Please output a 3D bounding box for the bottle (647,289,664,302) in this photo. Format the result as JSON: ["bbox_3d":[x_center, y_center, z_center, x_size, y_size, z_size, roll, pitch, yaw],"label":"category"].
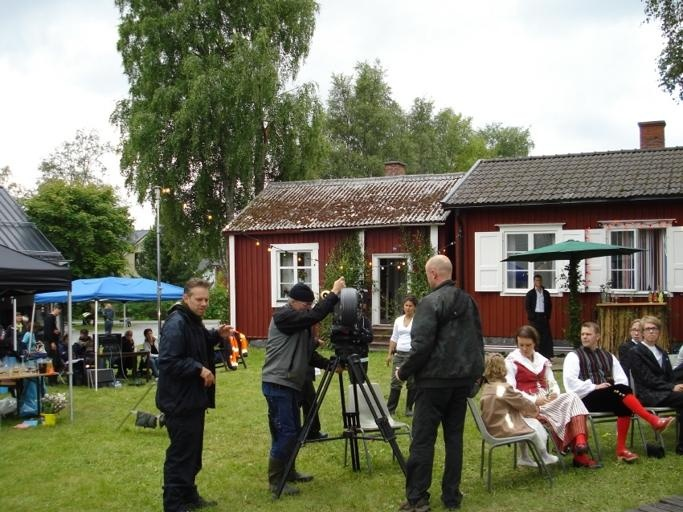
[{"bbox_3d":[6.763,0.811,19.269,0.372,0.403,0.203,-1,-6,33],"label":"bottle"}]

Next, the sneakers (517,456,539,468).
[{"bbox_3d":[2.587,2.881,12.456,0.301,0.147,0.110,0,-2,-11],"label":"sneakers"}]

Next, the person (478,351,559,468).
[{"bbox_3d":[2.353,2.114,12.173,0.938,1.575,0.719,-1,-5,-3],"label":"person"}]

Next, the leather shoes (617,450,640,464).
[{"bbox_3d":[4.007,2.808,12.462,0.258,0.154,0.128,-6,-6,28],"label":"leather shoes"}]

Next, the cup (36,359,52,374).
[{"bbox_3d":[-4.984,1.874,15.078,0.188,0.237,0.230,0,-5,1],"label":"cup"}]

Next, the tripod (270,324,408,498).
[{"bbox_3d":[0.179,2.095,12.278,1.621,2.302,1.606,-5,1,13],"label":"tripod"}]

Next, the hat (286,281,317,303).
[{"bbox_3d":[-0.534,0.480,12.023,0.292,0.207,0.235,1,2,-6],"label":"hat"}]

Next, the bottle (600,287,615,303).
[{"bbox_3d":[5.903,0.862,19.894,0.289,0.607,0.316,0,-8,0],"label":"bottle"}]

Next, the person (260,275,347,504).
[{"bbox_3d":[-0.564,1.755,11.891,0.935,2.779,0.668,-1,-5,9],"label":"person"}]
